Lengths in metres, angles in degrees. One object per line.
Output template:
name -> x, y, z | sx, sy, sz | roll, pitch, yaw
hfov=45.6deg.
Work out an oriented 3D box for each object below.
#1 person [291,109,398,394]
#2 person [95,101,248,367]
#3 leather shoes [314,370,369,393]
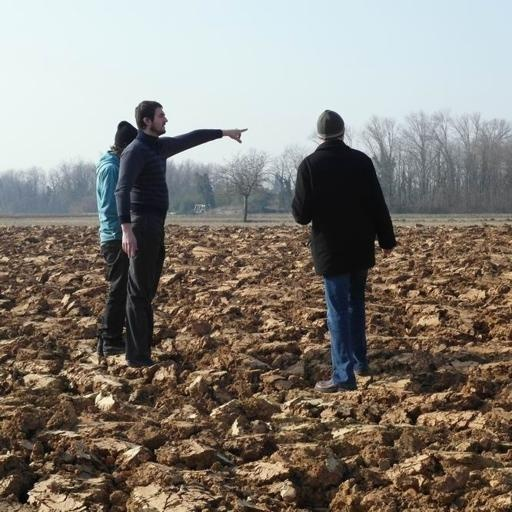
person -> 0.657, -0.032, 4.514 | 0.779, 2.087, 0.504 | -2, 3, -5
person -> -0.846, -0.175, 5.046 | 0.954, 2.144, 1.033 | -3, 3, -13
leather shoes -> 0.633, 0.949, 4.613 | 0.422, 0.230, 0.168 | 1, -2, 27
